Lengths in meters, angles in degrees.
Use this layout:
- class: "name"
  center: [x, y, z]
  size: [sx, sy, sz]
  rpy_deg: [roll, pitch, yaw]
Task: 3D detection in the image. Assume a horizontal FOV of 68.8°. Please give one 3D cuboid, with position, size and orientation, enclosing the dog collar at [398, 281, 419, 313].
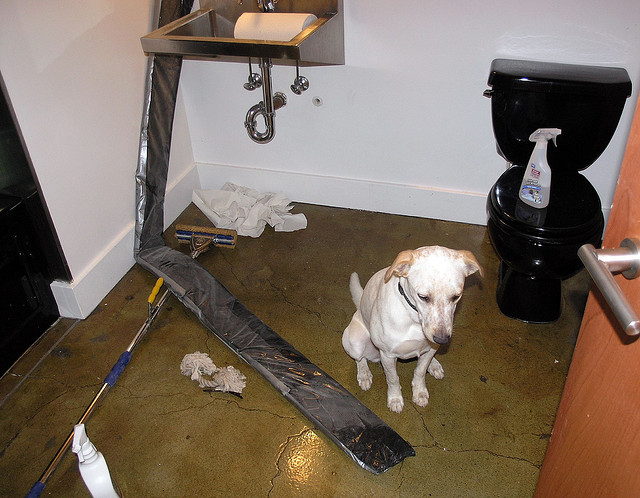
- class: "dog collar"
  center: [0.303, 0.167, 1.629]
  size: [0.024, 0.080, 0.103]
  rpy_deg: [-16, 35, -28]

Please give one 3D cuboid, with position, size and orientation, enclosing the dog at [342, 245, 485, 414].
- class: "dog"
  center: [0.278, 0.300, 1.811]
  size: [0.473, 0.776, 0.503]
  rpy_deg: [2, 29, 0]

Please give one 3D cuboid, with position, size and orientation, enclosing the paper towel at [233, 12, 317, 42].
- class: "paper towel"
  center: [-0.229, -1.049, 2.200]
  size: [0.388, 0.105, 0.177]
  rpy_deg: [6, 32, 7]

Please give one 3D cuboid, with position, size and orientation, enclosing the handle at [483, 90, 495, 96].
- class: "handle"
  center: [0.779, -0.723, 2.154]
  size: [0.036, 0.013, 0.036]
  rpy_deg: [-40, 59, -18]

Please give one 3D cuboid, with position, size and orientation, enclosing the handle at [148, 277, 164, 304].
- class: "handle"
  center: [-0.839, 0.218, 2.383]
  size: [0.032, 0.036, 0.141]
  rpy_deg: [26, 80, 11]

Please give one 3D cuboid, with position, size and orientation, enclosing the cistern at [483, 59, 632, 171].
- class: "cistern"
  center: [1.070, -0.607, 2.346]
  size: [0.740, 0.547, 0.482]
  rpy_deg: [9, 54, 11]

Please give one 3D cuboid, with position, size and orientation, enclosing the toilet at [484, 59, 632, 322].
- class: "toilet"
  center: [0.981, -0.351, 2.094]
  size: [0.575, 0.812, 0.595]
  rpy_deg: [11, 32, 17]

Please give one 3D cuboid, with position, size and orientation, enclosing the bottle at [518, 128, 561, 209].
- class: "bottle"
  center: [0.959, -0.364, 2.034]
  size: [0.131, 0.298, 0.219]
  rpy_deg: [13, 32, 20]

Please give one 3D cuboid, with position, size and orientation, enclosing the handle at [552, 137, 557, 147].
- class: "handle"
  center: [1.051, -0.480, 2.098]
  size: [0.011, 0.037, 0.002]
  rpy_deg: [-31, 25, 13]
